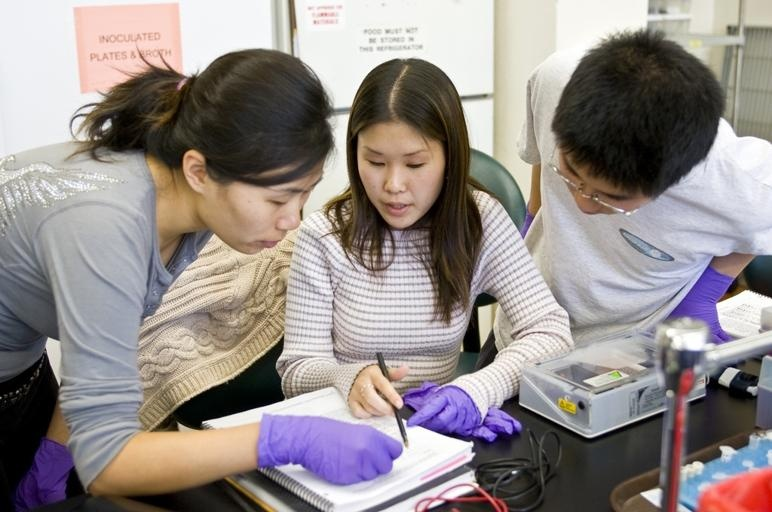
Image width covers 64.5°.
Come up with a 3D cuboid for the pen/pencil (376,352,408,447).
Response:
[{"bbox_3d":[0.014,0.361,1.506,0.019,0.019,0.237,6,41,-33],"label":"pen/pencil"}]

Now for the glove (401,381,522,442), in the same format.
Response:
[{"bbox_3d":[0.194,0.398,1.491,0.195,0.074,0.138,25,10,-28],"label":"glove"}]

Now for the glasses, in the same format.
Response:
[{"bbox_3d":[0.561,-0.192,1.620,0.235,0.200,0.229,1,16,19],"label":"glasses"}]
